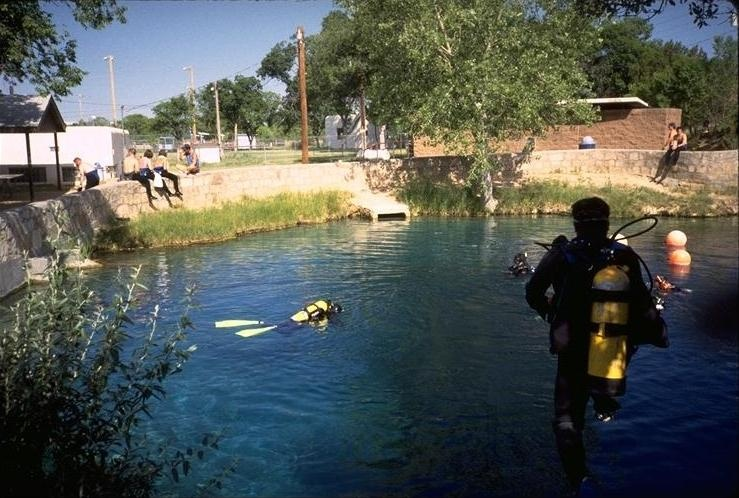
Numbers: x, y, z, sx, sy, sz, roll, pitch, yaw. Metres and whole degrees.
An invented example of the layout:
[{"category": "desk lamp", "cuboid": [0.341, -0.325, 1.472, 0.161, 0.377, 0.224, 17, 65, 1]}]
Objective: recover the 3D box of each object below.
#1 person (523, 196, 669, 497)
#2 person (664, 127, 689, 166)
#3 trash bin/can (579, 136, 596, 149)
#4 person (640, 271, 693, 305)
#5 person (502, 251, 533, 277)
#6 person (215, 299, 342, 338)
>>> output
[{"category": "person", "cuboid": [2.589, 1.147, 7.136, 1.178, 3.353, 0.948, -8, 15, -28]}, {"category": "person", "cuboid": [14.957, -4.968, 29.432, 0.790, 1.742, 1.512, 6, 15, 26]}, {"category": "trash bin/can", "cuboid": [11.917, -5.724, 33.054, 0.929, 0.792, 0.937, 3, 7, 34]}, {"category": "person", "cuboid": [6.508, 0.890, 13.115, 0.954, 0.294, 1.003, -1, 12, 1]}, {"category": "person", "cuboid": [4.194, 0.542, 16.767, 0.551, 0.354, 0.764, 4, 54, 11]}, {"category": "person", "cuboid": [-1.808, 1.447, 12.843, 2.728, 0.376, 1.072, -5, 15, -16]}]
